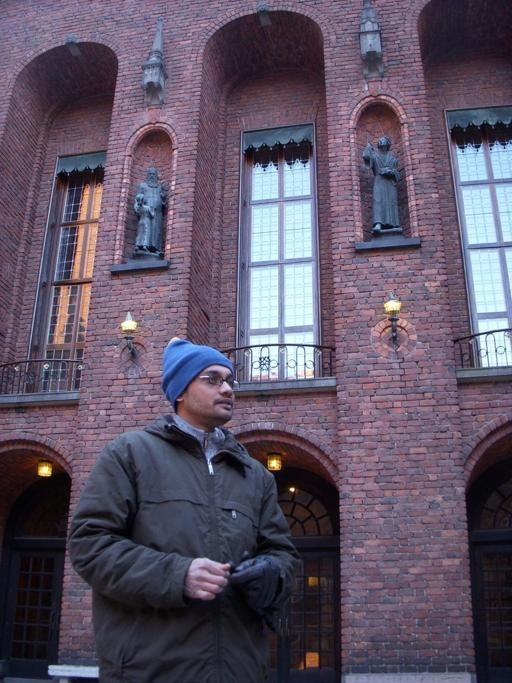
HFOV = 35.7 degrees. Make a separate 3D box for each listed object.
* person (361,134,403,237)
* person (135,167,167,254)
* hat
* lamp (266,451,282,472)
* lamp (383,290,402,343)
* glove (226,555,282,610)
[{"bbox_3d":[1.617,-1.989,10.202,0.418,1.427,0.247,-2,-22,1],"label":"person"},{"bbox_3d":[-1.433,-1.780,10.795,0.429,1.417,0.280,4,-23,-14],"label":"person"},{"bbox_3d":[-0.244,0.132,3.383,0.310,0.317,0.274,-7,-25,12],"label":"hat"},{"bbox_3d":[0.236,1.490,10.001,0.267,0.252,0.256,0,-5,6],"label":"lamp"},{"bbox_3d":[1.578,-0.301,9.158,0.220,0.690,0.269,-6,-22,10],"label":"lamp"},{"bbox_3d":[0.006,0.828,2.751,0.093,0.144,0.200,8,3,-42],"label":"glove"}]
